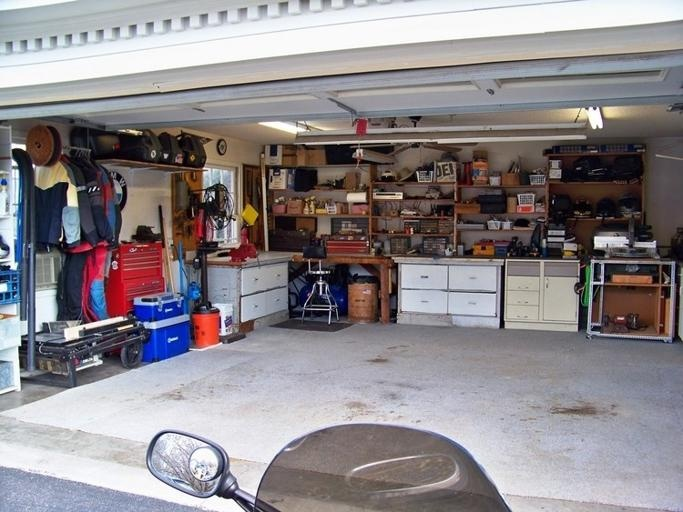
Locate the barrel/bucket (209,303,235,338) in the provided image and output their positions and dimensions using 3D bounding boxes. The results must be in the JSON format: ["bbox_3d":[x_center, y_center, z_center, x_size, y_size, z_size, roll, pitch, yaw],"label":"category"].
[{"bbox_3d":[-1.682,0.919,7.461,0.474,0.484,0.425,-3,5,-21],"label":"barrel/bucket"}]

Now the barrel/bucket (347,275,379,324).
[{"bbox_3d":[0.369,0.766,8.815,0.776,0.667,0.692,0,-1,1],"label":"barrel/bucket"}]

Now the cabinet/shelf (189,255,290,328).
[{"bbox_3d":[-1.623,0.632,8.598,0.929,1.070,1.728,2,3,18],"label":"cabinet/shelf"}]

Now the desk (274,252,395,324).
[{"bbox_3d":[0.120,0.253,9.049,2.481,1.218,1.200,0,1,20],"label":"desk"}]

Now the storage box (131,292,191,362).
[{"bbox_3d":[-2.319,0.904,6.480,0.607,0.750,0.967,-1,1,15],"label":"storage box"}]

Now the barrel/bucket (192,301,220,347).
[{"bbox_3d":[-1.951,0.964,7.267,0.455,0.534,0.431,-4,-1,0],"label":"barrel/bucket"}]

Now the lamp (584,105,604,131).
[{"bbox_3d":[3.085,-1.691,6.244,0.149,0.185,1.462,4,8,27],"label":"lamp"}]
